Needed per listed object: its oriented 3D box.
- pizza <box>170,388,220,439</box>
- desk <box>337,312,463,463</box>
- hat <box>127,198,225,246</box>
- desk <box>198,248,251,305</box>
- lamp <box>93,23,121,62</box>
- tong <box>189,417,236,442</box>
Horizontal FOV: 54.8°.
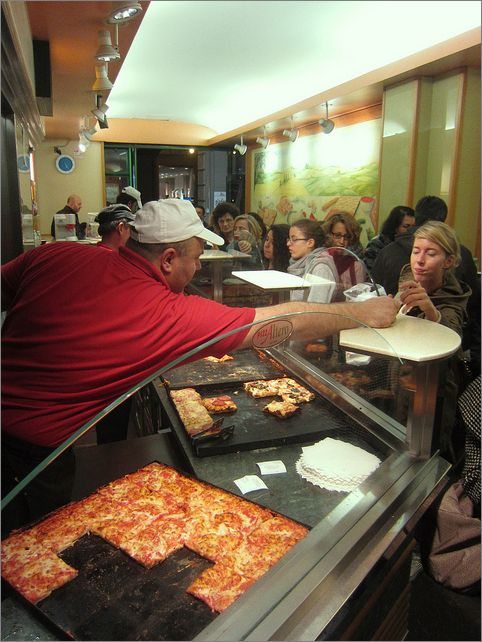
[{"bbox_3d":[-0.137,0.237,1.256,0.083,0.026,0.208,-8,30,-21],"label":"pizza"},{"bbox_3d":[0.363,0.178,1.237,0.281,0.298,0.305,1,14,-27],"label":"desk"},{"bbox_3d":[-0.167,-0.270,1.255,0.272,0.118,0.163,-2,24,-20],"label":"hat"},{"bbox_3d":[-0.127,-0.259,2.509,0.317,0.274,0.300,-3,15,-14],"label":"desk"},{"bbox_3d":[-0.976,-1.991,3.324,0.163,0.252,0.332,-5,14,-14],"label":"lamp"},{"bbox_3d":[-0.075,0.278,1.171,0.095,0.032,0.046,-17,27,-11],"label":"tong"}]
